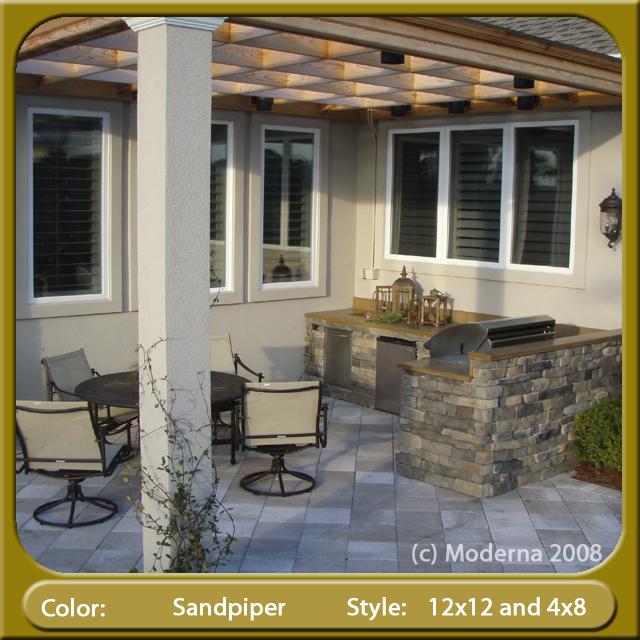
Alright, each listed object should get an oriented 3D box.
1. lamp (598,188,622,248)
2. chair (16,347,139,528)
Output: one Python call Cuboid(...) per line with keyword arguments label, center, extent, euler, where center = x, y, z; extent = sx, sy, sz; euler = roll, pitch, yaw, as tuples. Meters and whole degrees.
Cuboid(label="lamp", center=(3.116, -1.099, 6.943), extent=(0.236, 0.650, 0.262), euler=(-6, 11, -42))
Cuboid(label="chair", center=(-2.129, 0.921, 5.761), extent=(0.962, 1.044, 2.654), euler=(-1, 8, -16))
